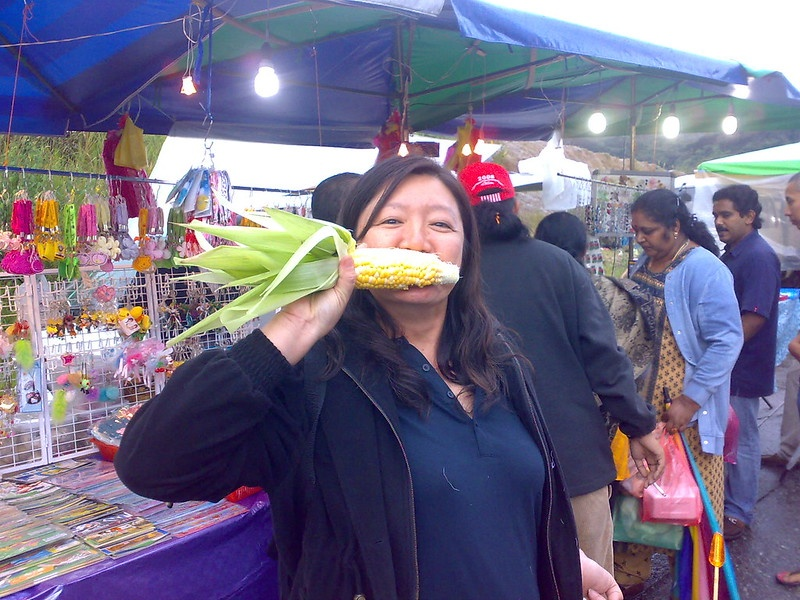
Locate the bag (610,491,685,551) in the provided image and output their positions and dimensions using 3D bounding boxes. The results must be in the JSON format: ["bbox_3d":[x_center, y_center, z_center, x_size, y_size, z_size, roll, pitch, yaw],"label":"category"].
[{"bbox_3d":[1.667,1.438,4.003,0.596,0.344,0.420,2,-12,20],"label":"bag"}]

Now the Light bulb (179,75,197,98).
[{"bbox_3d":[-1.440,-1.467,4.050,0.087,0.141,0.215,-2,8,-18],"label":"Light bulb"}]

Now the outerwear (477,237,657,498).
[{"bbox_3d":[0.886,0.442,3.856,1.324,1.618,0.804,-7,-7,37],"label":"outerwear"}]

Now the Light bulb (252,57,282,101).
[{"bbox_3d":[-1.005,-1.671,4.488,0.154,0.262,0.253,-1,8,-9],"label":"Light bulb"}]

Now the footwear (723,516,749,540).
[{"bbox_3d":[2.898,1.978,5.124,0.131,0.113,0.266,-10,-20,34],"label":"footwear"}]
